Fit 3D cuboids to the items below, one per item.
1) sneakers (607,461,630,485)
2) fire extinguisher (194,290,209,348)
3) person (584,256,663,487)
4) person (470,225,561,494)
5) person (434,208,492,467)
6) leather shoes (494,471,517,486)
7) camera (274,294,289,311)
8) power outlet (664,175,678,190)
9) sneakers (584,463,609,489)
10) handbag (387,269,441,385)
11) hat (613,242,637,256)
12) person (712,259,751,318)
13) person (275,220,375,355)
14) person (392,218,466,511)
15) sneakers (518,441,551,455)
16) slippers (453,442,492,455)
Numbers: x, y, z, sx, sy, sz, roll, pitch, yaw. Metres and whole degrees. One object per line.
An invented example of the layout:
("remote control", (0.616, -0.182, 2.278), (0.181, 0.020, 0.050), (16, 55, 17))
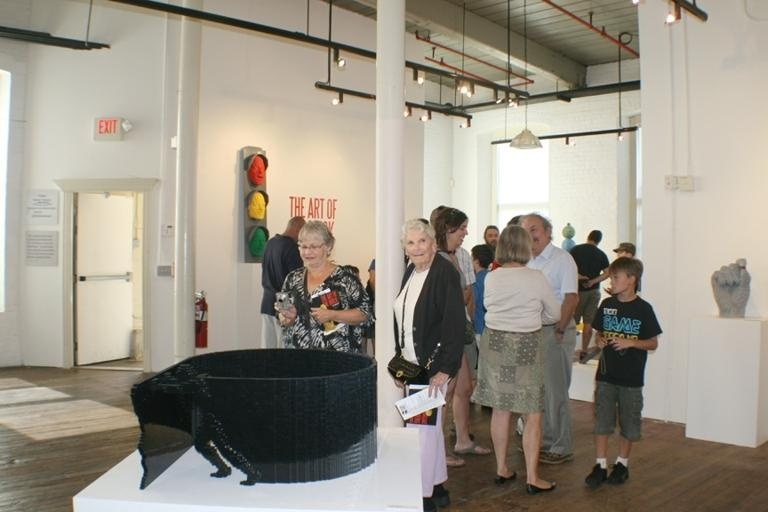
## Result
("sneakers", (2.102, 1.952, 5.509), (0.109, 0.121, 0.261), (-6, -8, 34))
("fire extinguisher", (-2.477, 0.852, 8.246), (0.155, 0.743, 0.257), (-1, 6, -13))
("person", (2.098, 1.014, 5.563), (0.716, 1.997, 0.484), (-3, 6, -32))
("person", (1.159, 0.881, 5.353), (0.706, 2.296, 0.370), (1, 6, 7))
("person", (0.750, 0.740, 6.134), (0.597, 2.536, 0.717), (-3, 14, 5))
("leather shoes", (1.084, 1.986, 5.472), (0.226, 0.066, 0.076), (-6, 3, -44))
("camera", (-0.813, 0.357, 4.890), (0.108, 0.139, 0.105), (-1, 6, -9))
("power outlet", (3.306, -0.848, 7.059), (0.151, 0.145, 0.082), (5, 16, 26))
("sneakers", (1.884, 1.961, 5.446), (0.101, 0.129, 0.306), (-8, -16, 34))
("handbag", (0.165, 0.609, 4.867), (0.392, 0.748, 0.326), (-28, 23, -38))
("hat", (3.940, -0.124, 10.075), (0.347, 0.180, 0.255), (8, 7, 28))
("person", (3.732, 0.352, 6.568), (0.484, 0.711, 0.415), (-6, -20, 39))
("person", (-0.538, 0.241, 4.926), (0.775, 1.038, 0.463), (3, 6, 28))
("person", (0.313, 0.902, 4.890), (0.526, 2.373, 0.619), (-4, 7, -38))
("sneakers", (1.427, 1.855, 5.980), (0.200, 0.093, 0.286), (-4, -6, 44))
("slippers", (0.861, 1.898, 5.998), (0.342, 0.093, 0.131), (-2, -1, -4))
